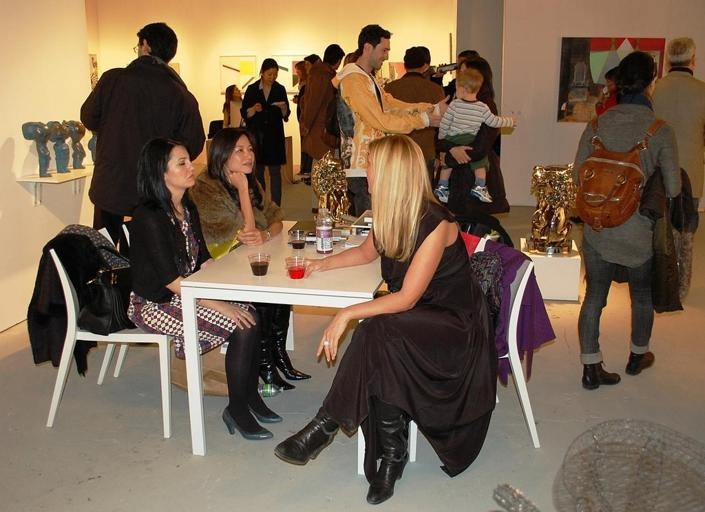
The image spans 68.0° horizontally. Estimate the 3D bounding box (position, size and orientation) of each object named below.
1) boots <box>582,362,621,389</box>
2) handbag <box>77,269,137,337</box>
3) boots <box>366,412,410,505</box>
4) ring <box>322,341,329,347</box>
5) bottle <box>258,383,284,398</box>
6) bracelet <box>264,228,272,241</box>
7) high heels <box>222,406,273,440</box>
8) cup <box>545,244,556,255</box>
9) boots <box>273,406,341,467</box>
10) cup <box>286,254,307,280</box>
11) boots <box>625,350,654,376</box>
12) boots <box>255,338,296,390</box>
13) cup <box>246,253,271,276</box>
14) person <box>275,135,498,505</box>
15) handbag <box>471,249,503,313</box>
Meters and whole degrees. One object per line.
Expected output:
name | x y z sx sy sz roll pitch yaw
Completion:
boots | 1.614 0.783 3.407 0.201 0.163 0.083 -18 20 -24
handbag | -1.371 0.273 2.918 0.188 0.326 0.324 2 9 12
boots | 0.196 0.940 2.516 0.164 0.328 0.446 2 13 23
ring | -0.120 0.411 2.462 0.026 0.029 0.027 1 0 0
bottle | -0.512 0.851 3.311 0.143 0.079 0.058 2 -12 -5
bracelet | -0.521 -0.137 3.309 0.040 0.056 0.019 5 -11 -42
high heels | -0.568 0.920 2.969 0.350 0.199 0.123 5 6 9
cup | 1.797 -0.057 4.733 0.075 0.060 0.078 2 4 0
boots | -0.200 0.847 2.512 0.343 0.258 0.124 3 13 -45
cup | -0.271 0.055 2.622 0.090 0.088 0.102 1 1 5
boots | 1.941 0.727 3.529 0.180 0.131 0.074 -32 33 -34
boots | -0.503 0.706 3.397 0.334 0.349 0.150 5 5 -31
cup | -0.460 0.037 2.608 0.098 0.102 0.107 -2 6 0
person | 0.272 0.294 2.490 0.886 1.644 0.532 -10 21 -26
handbag | 0.724 0.119 2.741 0.088 0.283 0.189 6 -2 -37
